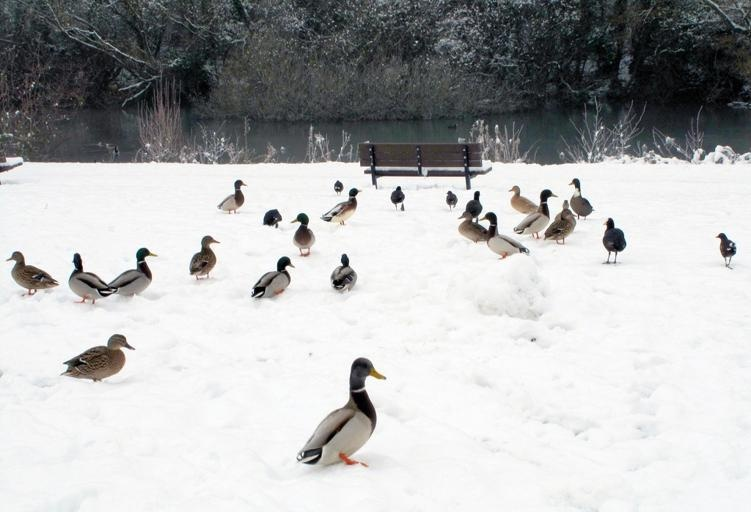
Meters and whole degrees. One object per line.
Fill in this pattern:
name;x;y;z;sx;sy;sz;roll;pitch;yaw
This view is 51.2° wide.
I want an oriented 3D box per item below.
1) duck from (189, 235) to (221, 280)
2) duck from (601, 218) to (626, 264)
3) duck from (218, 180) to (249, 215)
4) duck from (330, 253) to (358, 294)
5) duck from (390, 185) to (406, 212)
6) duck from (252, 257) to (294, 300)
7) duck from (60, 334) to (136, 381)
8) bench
duck;-3.288;0.031;14.941;0.532;0.779;0.484;-5;13;-21
duck;4.463;-0.287;14.759;0.381;0.792;0.584;3;13;16
duck;-3.293;-1.359;17.953;0.644;0.736;0.648;-7;14;-28
duck;-0.578;0.333;14.480;0.395;0.496;0.681;4;35;9
duck;0.510;-1.361;18.082;0.309;0.544;0.877;0;13;1
duck;-1.834;0.447;14.376;0.965;0.685;0.465;-24;27;-34
duck;-4.468;1.630;12.741;1.055;0.837;0.560;0;6;-12
bench;1.210;-2.465;20.388;3.223;1.249;1.165;2;23;13
